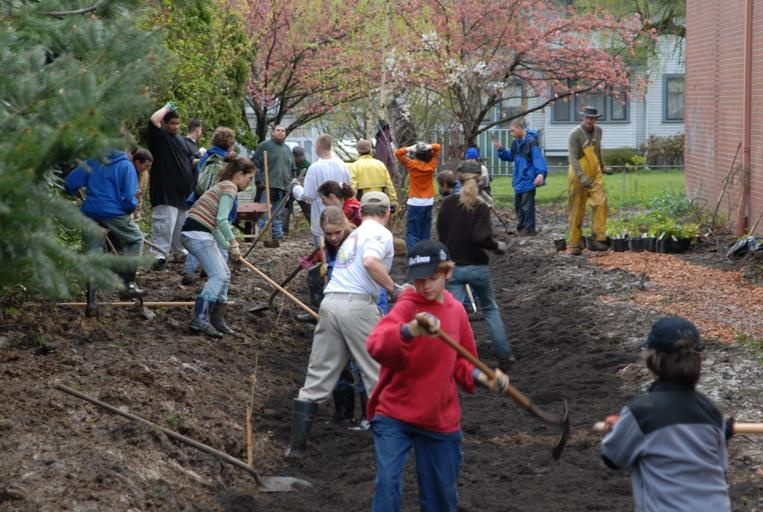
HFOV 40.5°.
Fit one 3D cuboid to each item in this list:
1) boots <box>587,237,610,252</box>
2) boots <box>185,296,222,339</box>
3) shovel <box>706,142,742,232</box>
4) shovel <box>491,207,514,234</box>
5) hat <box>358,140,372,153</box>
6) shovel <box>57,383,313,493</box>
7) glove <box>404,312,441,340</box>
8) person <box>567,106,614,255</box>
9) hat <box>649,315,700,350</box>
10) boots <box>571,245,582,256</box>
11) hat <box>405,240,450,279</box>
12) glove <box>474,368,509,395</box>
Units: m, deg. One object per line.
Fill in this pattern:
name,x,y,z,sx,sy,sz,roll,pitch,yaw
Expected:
boots,3.602,-0.182,17.071,0.376,0.201,0.318,1,-4,21
boots,-2.148,0.770,13.004,0.506,0.455,0.228,14,6,11
shovel,5.773,-1.168,17.311,0.501,1.426,1.186,0,7,18
shovel,2.522,-0.625,21.023,0.158,0.167,1.227,29,-3,32
hat,-0.292,-1.759,16.859,0.204,0.134,0.266,0,22,7
shovel,-2.120,1.942,10.775,2.223,0.278,0.285,23,-28,-16
glove,0.366,0.633,9.329,0.208,0.245,0.343,-6,8,-28
person,3.364,-1.213,16.820,0.608,2.340,0.596,-1,7,10
hat,2.670,0.704,9.269,0.522,0.338,0.696,0,-3,19
boots,3.260,-0.071,17.190,0.197,0.183,0.123,1,-2,13
hat,0.454,0.015,9.699,0.291,0.217,0.432,-5,17,30
glove,1.023,1.170,9.641,0.291,0.123,0.219,26,-14,2
